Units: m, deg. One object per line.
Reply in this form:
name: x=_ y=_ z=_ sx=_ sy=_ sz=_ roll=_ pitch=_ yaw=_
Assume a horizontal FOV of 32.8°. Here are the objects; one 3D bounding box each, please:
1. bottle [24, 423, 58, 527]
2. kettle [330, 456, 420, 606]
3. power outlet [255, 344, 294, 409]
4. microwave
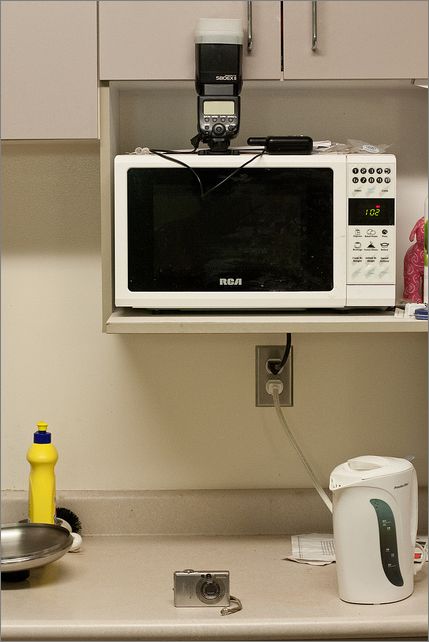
bottle: x=-0.349 y=0.306 z=1.475 sx=0.072 sy=0.195 sz=0.068 roll=3 pitch=12 yaw=-1
kettle: x=0.273 y=0.346 z=1.299 sx=0.164 sy=0.225 sz=0.210 roll=1 pitch=1 yaw=33
power outlet: x=0.132 y=0.124 z=1.643 sx=0.093 sy=0.140 sz=0.014 roll=1 pitch=-4 yaw=-14
microwave: x=0.074 y=-0.181 z=1.372 sx=0.470 sy=0.299 sz=0.362 roll=-2 pitch=14 yaw=-7
